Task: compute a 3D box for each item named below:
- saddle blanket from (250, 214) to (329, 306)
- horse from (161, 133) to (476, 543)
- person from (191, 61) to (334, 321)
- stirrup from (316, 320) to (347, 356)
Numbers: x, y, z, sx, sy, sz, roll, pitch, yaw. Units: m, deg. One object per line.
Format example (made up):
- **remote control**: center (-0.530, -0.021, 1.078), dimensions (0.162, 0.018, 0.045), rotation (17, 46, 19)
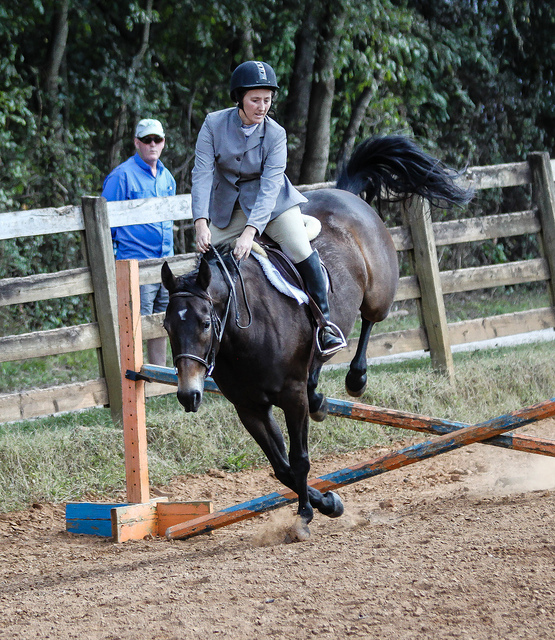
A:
- **saddle blanket**: center (0.055, -0.385, 5.343), dimensions (0.413, 0.619, 0.177), rotation (-29, -18, 21)
- **horse**: center (0.354, -0.059, 6.200), dimensions (0.792, 2.230, 3.679), rotation (7, 30, 28)
- **person**: center (-0.119, -0.689, 5.180), dimensions (0.885, 1.527, 0.772), rotation (18, 37, 32)
- **stirrup**: center (0.313, 0.115, 5.391), dimensions (0.169, 0.216, 0.080), rotation (-25, -5, 3)
